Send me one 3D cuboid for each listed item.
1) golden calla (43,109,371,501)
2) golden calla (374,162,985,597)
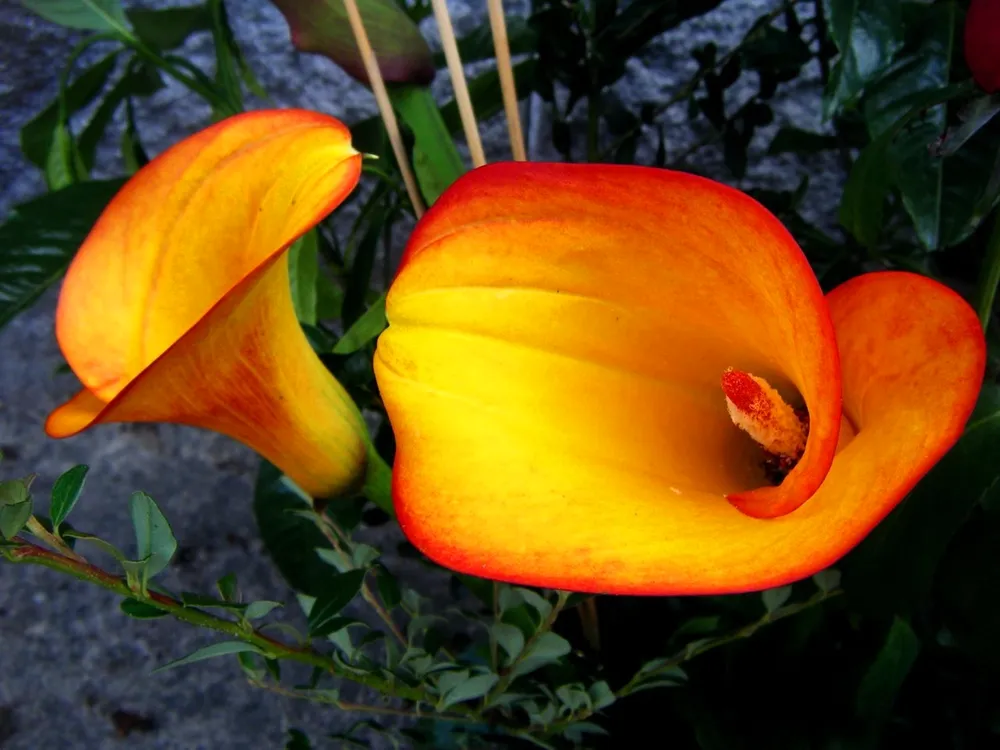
[{"bbox_3d":[-0.181,-0.052,0.627,0.200,0.117,0.231,4,75,8],"label":"golden calla"},{"bbox_3d":[0.127,0.001,0.613,0.432,0.176,0.261,2,80,35],"label":"golden calla"}]
